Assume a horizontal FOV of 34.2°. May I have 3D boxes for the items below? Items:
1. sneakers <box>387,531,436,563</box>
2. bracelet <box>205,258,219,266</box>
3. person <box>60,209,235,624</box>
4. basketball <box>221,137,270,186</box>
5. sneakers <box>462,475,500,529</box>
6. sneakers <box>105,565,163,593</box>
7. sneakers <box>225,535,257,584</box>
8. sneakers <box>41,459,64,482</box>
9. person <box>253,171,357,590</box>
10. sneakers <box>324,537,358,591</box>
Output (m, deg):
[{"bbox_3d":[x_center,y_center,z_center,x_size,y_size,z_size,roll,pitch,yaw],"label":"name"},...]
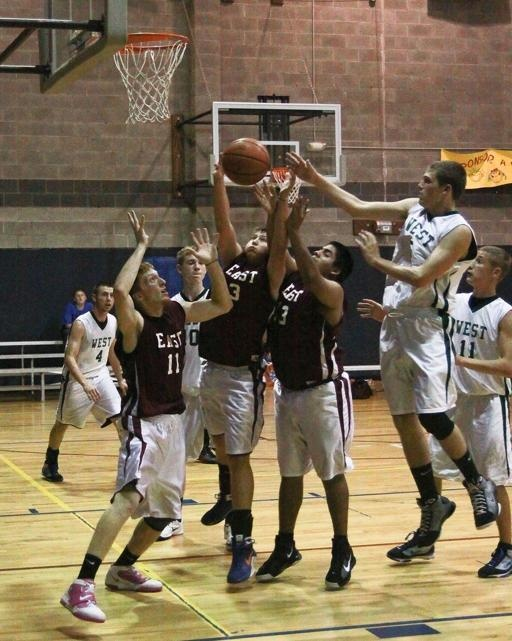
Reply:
[{"bbox_3d":[0.807,1.109,4.065,0.346,0.149,0.106,0,-1,-14],"label":"sneakers"},{"bbox_3d":[-0.191,-0.249,3.616,0.037,0.033,0.027,-1,-3,14],"label":"bracelet"},{"bbox_3d":[-0.461,0.343,3.477,0.510,1.660,0.931,0,-1,20],"label":"person"},{"bbox_3d":[-0.051,-0.868,4.549,0.274,0.261,0.234,10,1,0],"label":"basketball"},{"bbox_3d":[1.017,0.822,3.746,0.155,0.222,0.231,0,-1,14],"label":"sneakers"},{"bbox_3d":[-0.535,1.116,3.623,0.293,0.116,0.099,3,-2,-3],"label":"sneakers"},{"bbox_3d":[-0.056,1.069,3.723,0.093,0.161,0.252,-6,2,8],"label":"sneakers"},{"bbox_3d":[-1.522,1.134,6.181,0.087,0.104,0.250,6,-6,-34],"label":"sneakers"},{"bbox_3d":[0.233,0.315,3.823,0.468,1.740,0.413,0,-1,28],"label":"person"},{"bbox_3d":[0.387,1.070,3.603,0.094,0.171,0.270,-9,4,17],"label":"sneakers"}]
